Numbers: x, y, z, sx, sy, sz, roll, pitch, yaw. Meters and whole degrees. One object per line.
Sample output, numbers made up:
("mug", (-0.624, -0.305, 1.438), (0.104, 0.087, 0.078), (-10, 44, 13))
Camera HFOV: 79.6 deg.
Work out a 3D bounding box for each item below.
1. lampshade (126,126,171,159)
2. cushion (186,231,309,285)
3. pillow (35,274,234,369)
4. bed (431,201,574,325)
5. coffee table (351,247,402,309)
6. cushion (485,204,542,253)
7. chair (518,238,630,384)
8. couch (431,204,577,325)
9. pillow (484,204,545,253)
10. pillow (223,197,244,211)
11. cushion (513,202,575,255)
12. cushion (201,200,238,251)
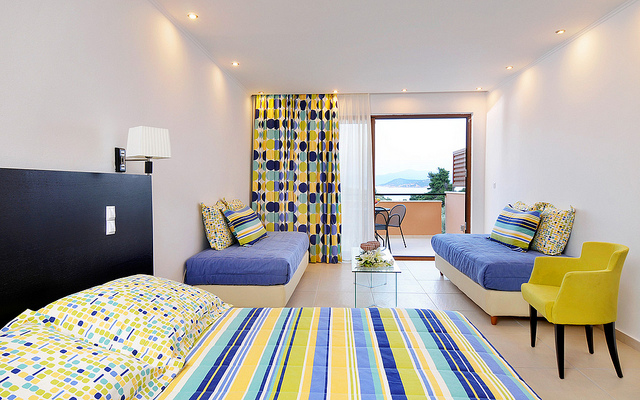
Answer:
("lampshade", (-1.604, -0.512, 3.602), (0.319, 0.248, 0.330), (3, 3, 45))
("cushion", (-0.887, 0.728, 5.023), (1.233, 0.348, 1.360), (0, 11, 6))
("pillow", (-1.322, 0.823, 2.717), (0.725, 0.192, 0.741), (15, 5, 12))
("bed", (2.409, 0.678, 5.171), (1.288, 1.194, 2.133), (-3, 3, 0))
("coffee table", (0.711, 0.982, 5.155), (0.613, 0.708, 1.690), (1, 11, 8))
("cushion", (2.526, 0.356, 5.028), (0.308, 0.586, 0.765), (9, 3, -9))
("chair", (2.538, 1.035, 3.850), (0.847, 1.111, 0.910), (0, 0, 19))
("couch", (2.381, 0.688, 5.181), (1.248, 1.248, 2.150), (-3, 4, 3))
("pillow", (2.542, 0.372, 5.043), (0.320, 0.588, 0.821), (8, 4, -4))
("pillow", (-1.237, 0.068, 5.516), (0.191, 0.047, 0.188), (12, 13, 3))
("cushion", (2.616, 0.330, 4.541), (0.168, 0.529, 0.544), (11, 3, -23))
("cushion", (-1.326, 0.353, 5.010), (0.244, 0.561, 0.629), (-6, 4, 14))
